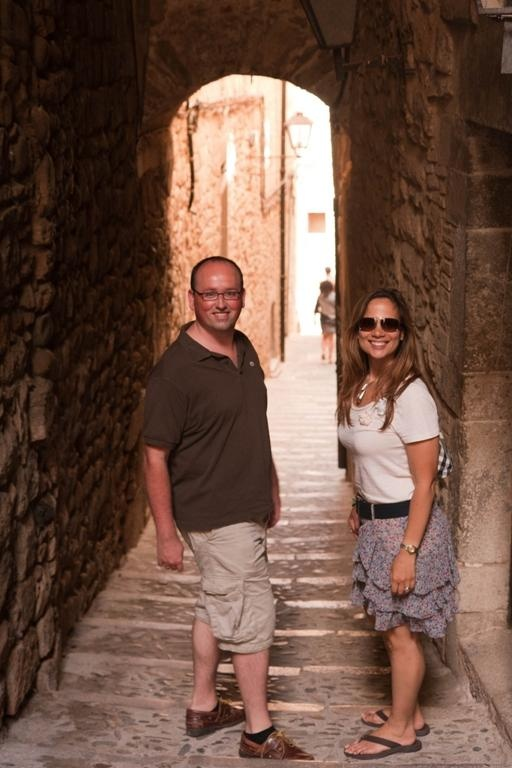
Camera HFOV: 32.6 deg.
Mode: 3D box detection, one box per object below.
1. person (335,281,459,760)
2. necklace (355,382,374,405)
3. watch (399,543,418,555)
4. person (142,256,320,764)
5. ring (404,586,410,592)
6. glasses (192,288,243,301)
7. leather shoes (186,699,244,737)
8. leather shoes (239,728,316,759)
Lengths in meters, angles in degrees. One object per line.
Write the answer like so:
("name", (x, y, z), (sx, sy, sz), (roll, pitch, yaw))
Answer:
("person", (0.340, 0.366, 2.341), (0.351, 1.233, 0.308), (4, 9, 30))
("necklace", (0.288, 0.024, 2.348), (0.021, 0.019, 0.073), (22, 56, 12))
("watch", (0.380, 0.411, 2.188), (0.041, 0.031, 0.024), (0, 7, 3))
("person", (-0.060, 0.322, 2.371), (0.446, 1.329, 0.417), (1, 7, 11))
("ring", (0.376, 0.513, 2.203), (0.013, 0.012, 0.026), (-4, -7, 12))
("glasses", (-0.101, -0.239, 2.352), (0.131, 0.030, 0.078), (-1, 7, -5))
("leather shoes", (-0.116, 0.945, 2.516), (0.182, 0.082, 0.063), (-3, 3, -43))
("leather shoes", (0.055, 0.936, 2.306), (0.195, 0.079, 0.073), (0, -14, 9))
